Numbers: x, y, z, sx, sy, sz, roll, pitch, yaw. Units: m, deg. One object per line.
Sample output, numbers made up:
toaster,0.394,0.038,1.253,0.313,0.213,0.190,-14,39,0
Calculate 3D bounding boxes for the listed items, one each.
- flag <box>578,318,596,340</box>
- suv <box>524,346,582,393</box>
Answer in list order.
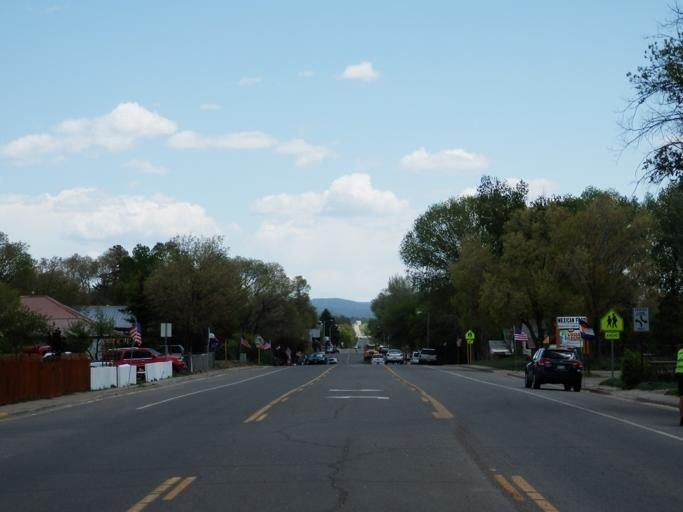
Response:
flag,11.706,3.371,41.549,0.443,1.085,2.683,-2,-9,13
suv,9.198,4.858,37.631,2.275,1.942,1.703,-3,-7,15
